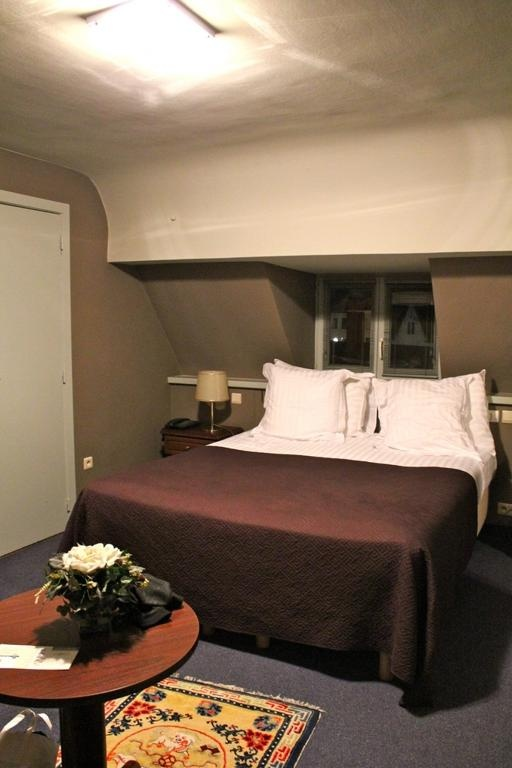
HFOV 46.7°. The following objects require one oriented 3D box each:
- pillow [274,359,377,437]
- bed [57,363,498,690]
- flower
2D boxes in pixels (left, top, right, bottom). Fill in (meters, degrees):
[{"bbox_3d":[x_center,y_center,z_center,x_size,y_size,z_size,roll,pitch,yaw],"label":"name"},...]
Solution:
[{"bbox_3d":[0.430,0.111,3.718,0.417,0.456,0.140,4,10,28],"label":"pillow"},{"bbox_3d":[0.314,0.456,3.031,1.559,0.878,1.858,3,8,25],"label":"bed"},{"bbox_3d":[-0.360,0.504,1.475,0.312,0.178,0.267,1,1,-4],"label":"flower"}]
